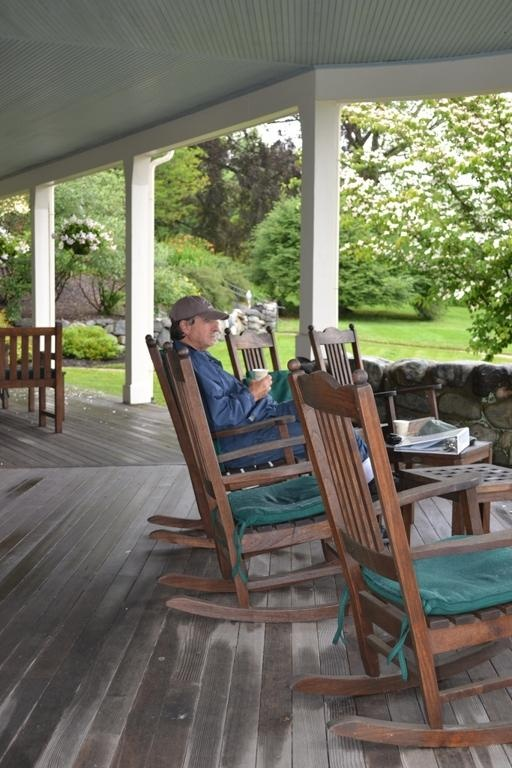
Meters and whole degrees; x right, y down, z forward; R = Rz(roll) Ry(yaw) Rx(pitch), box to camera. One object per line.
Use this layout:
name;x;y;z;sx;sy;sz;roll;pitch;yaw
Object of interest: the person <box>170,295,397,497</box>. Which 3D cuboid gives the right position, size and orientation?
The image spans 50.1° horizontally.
person;-0.085;0.019;2.618;0.572;1.088;0.454;1;1;28
